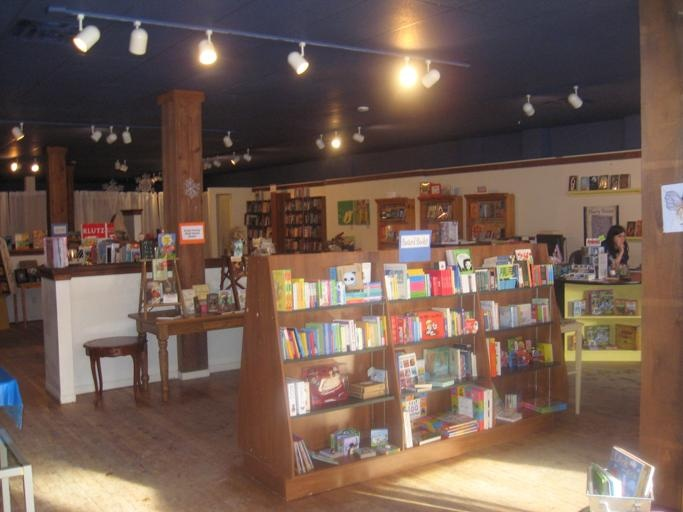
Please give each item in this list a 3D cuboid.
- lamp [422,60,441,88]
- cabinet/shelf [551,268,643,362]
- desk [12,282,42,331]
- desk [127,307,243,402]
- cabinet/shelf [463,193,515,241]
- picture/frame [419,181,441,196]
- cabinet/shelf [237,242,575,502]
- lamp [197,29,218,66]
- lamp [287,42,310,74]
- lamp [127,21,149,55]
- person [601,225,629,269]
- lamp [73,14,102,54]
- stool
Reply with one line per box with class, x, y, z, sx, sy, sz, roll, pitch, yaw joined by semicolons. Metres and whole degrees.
lamp;1.123;-2.283;7.051;0.135;0.199;0.358;-8;24;14
cabinet/shelf;4.560;1.098;9.351;0.418;1.330;1.337;6;-6;11
desk;-6.506;0.856;11.655;0.427;0.633;0.603;6;9;30
desk;-1.921;1.248;7.464;1.458;1.000;0.821;-1;3;-44
cabinet/shelf;3.222;-0.847;11.999;0.431;1.607;1.003;1;0;-41
picture/frame;2.042;-1.560;12.881;0.479;0.299;0.343;-3;1;28
cabinet/shelf;0.707;0.987;5.618;3.301;2.121;0.597;-3;2;-25
lamp;-1.402;-2.193;5.758;0.127;0.228;0.202;-11;3;-43
lamp;-0.495;-2.267;6.318;0.154;0.269;0.282;-30;-1;40
lamp;-2.042;-2.197;5.579;0.205;0.284;0.222;14;27;-2
person;4.619;-0.161;9.372;0.350;0.717;0.740;-1;2;26
lamp;-2.529;-2.171;5.426;0.235;0.331;0.253;14;29;16
stool;-2.858;1.434;7.009;0.688;0.794;0.746;2;6;24
